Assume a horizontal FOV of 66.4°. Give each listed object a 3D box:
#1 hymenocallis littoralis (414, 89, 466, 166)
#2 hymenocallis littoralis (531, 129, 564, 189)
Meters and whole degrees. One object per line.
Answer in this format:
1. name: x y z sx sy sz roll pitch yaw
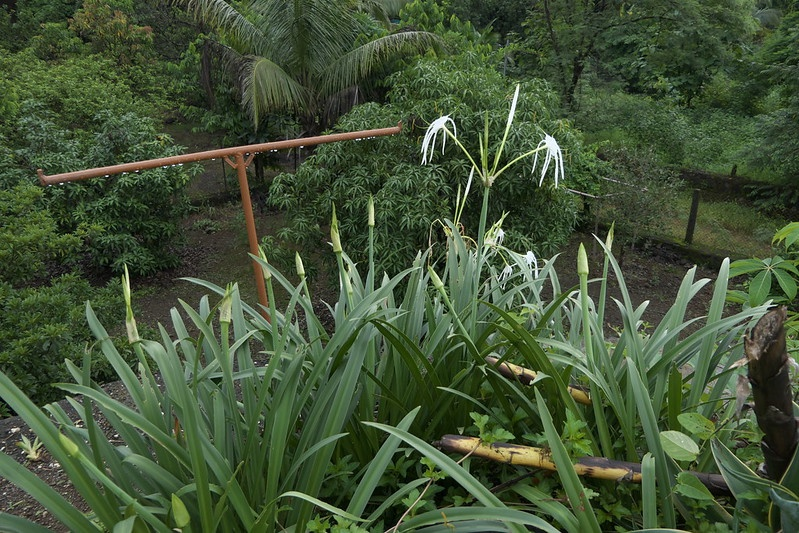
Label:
1. hymenocallis littoralis: 0.237 -0.752 3.252 0.182 0.193 0.075 -30 25 16
2. hymenocallis littoralis: 0.707 -0.558 2.959 0.107 0.258 0.118 -10 -11 8
